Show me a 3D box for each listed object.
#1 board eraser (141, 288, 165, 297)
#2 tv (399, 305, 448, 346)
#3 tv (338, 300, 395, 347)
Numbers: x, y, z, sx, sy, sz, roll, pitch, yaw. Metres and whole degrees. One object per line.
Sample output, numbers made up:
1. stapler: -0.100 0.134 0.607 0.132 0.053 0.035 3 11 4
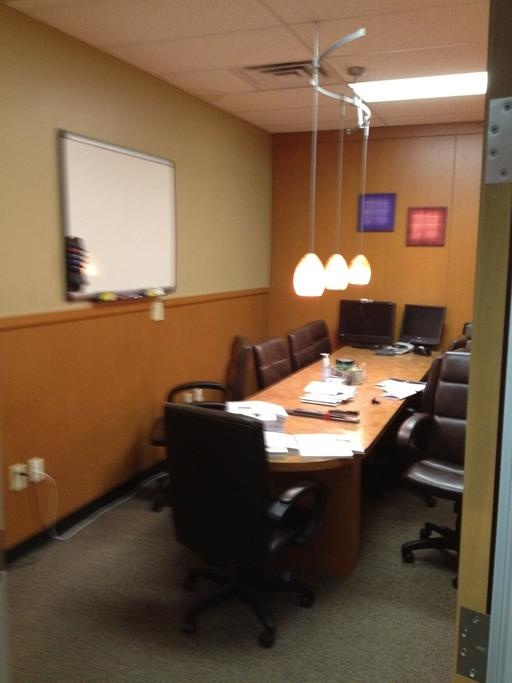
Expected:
1. board eraser: -0.212 -0.101 1.112 0.042 0.020 0.036 5 8 -12
2. tv: 0.948 -0.097 3.009 0.197 0.206 0.075 9 10 28
3. tv: 0.650 -0.111 3.090 0.253 0.225 0.075 4 10 18
